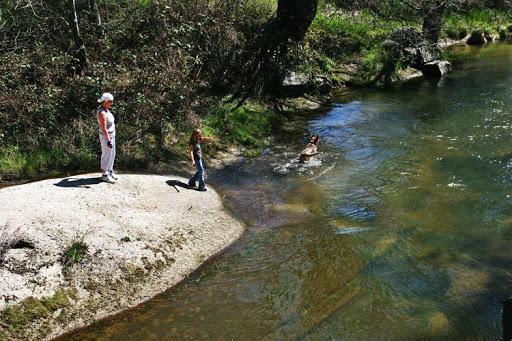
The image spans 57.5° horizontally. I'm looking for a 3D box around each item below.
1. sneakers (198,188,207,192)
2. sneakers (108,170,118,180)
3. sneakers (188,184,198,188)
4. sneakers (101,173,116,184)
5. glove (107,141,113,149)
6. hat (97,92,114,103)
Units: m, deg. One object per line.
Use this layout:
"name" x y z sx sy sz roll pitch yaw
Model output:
"sneakers" -2.075 0.735 18.029 0.308 0.133 0.114 -9 48 3
"sneakers" -5.252 0.154 17.193 0.483 0.212 0.168 19 41 17
"sneakers" -2.462 0.604 18.153 0.322 0.116 0.136 1 -19 -5
"sneakers" -5.356 0.274 16.954 0.499 0.233 0.259 11 29 2
"glove" -5.214 -0.931 16.618 0.167 0.162 0.209 8 -7 1
"hat" -5.254 -2.545 16.313 0.542 0.267 0.393 -9 20 -21
